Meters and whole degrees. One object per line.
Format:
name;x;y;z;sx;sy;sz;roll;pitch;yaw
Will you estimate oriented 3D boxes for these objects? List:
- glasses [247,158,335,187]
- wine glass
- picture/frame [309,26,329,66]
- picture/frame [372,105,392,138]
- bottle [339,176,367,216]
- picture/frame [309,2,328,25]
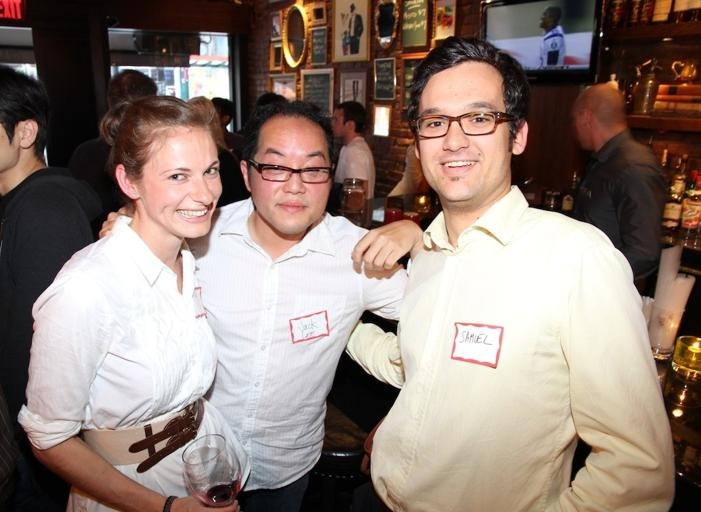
glasses;-0.237;-0.325;1.782;0.316;0.083;0.123;-2;16;-7
wine glass;-0.464;0.695;1.515;0.195;0.186;0.168;15;22;42
picture/frame;-0.466;-3.029;6.671;0.063;0.503;0.478;-10;19;-31
picture/frame;0.398;-1.679;5.728;0.054;0.539;0.370;-10;15;-38
bottle;0.000;-0.423;3.225;0.213;0.313;0.228;1;3;0
picture/frame;-0.454;-3.439;6.543;0.049;0.378;0.361;-18;23;-36
